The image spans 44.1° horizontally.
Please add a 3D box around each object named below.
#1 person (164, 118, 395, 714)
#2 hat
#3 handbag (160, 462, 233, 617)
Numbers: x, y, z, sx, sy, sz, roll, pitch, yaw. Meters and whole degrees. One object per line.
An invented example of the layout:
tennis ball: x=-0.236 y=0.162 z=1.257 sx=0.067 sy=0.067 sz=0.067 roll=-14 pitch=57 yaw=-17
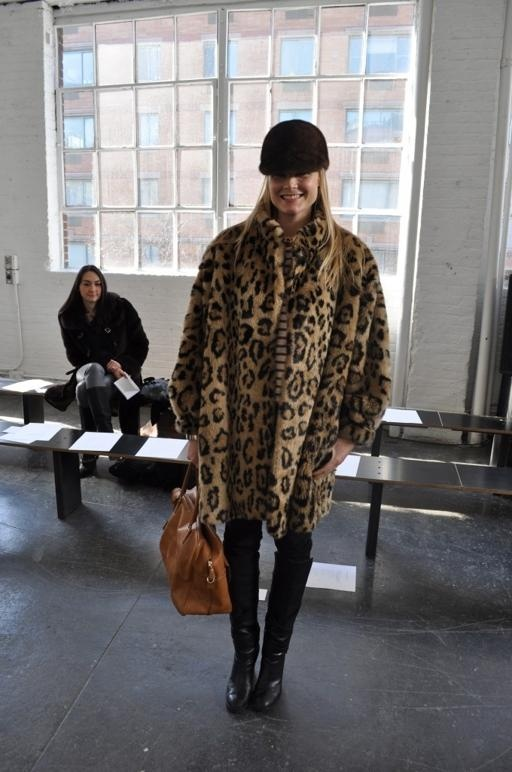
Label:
person: x=0.054 y=0.141 z=1.663 sx=0.505 sy=1.586 sz=0.325 roll=-3 pitch=12 yaw=-23
hat: x=0.090 y=-0.591 z=1.552 sx=0.174 sy=0.120 sz=0.234 roll=5 pitch=21 yaw=19
handbag: x=-0.179 y=0.386 z=1.827 sx=0.175 sy=0.416 sz=0.431 roll=-2 pitch=13 yaw=-16
